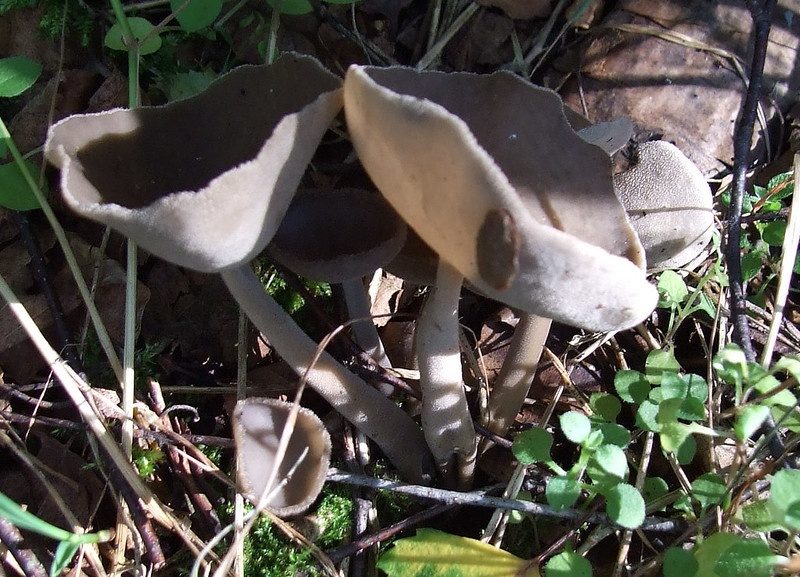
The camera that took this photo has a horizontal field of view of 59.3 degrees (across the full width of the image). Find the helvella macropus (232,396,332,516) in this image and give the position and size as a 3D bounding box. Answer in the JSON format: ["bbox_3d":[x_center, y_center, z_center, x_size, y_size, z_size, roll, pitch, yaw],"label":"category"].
[{"bbox_3d":[-0.349,0.455,1.981,0.272,0.146,0.349,-3,64,-27],"label":"helvella macropus"}]
